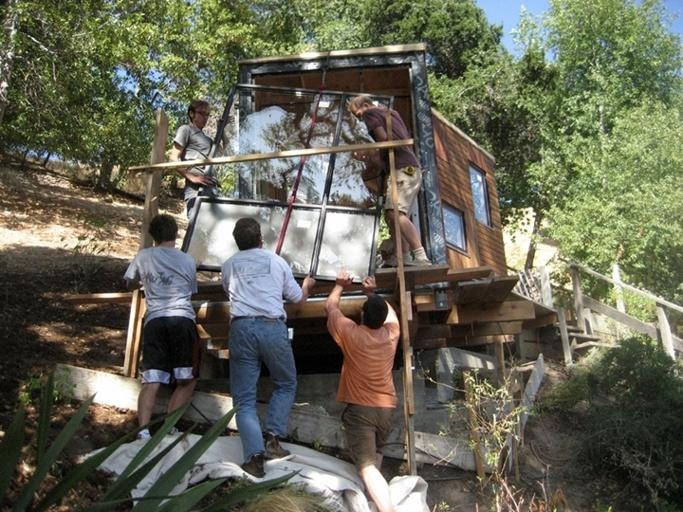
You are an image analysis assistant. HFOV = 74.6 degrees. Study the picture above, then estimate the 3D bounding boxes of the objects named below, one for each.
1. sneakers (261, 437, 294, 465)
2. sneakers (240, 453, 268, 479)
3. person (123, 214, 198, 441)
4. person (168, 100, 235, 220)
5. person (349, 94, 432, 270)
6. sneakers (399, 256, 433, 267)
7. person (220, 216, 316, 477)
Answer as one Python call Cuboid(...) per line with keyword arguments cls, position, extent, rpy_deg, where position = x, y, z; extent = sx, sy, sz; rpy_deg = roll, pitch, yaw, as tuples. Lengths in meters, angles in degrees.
Cuboid(cls="sneakers", position=(-0.534, 1.654, 3.843), extent=(0.255, 0.215, 0.184), rpy_deg=(8, 2, -21))
Cuboid(cls="sneakers", position=(-0.687, 1.655, 3.527), extent=(0.124, 0.203, 0.186), rpy_deg=(15, -18, -31))
Cuboid(cls="person", position=(-1.775, 0.749, 4.525), extent=(0.571, 1.802, 0.725), rpy_deg=(6, 2, -44))
Cuboid(cls="person", position=(-1.881, -1.284, 5.770), extent=(0.668, 1.402, 0.858), rpy_deg=(7, 2, -35))
Cuboid(cls="person", position=(0.601, -0.977, 5.360), extent=(1.145, 2.009, 1.058), rpy_deg=(8, 1, 6))
Cuboid(cls="sneakers", position=(0.861, 0.080, 5.304), extent=(0.344, 0.157, 0.126), rpy_deg=(-1, -2, 10))
Cuboid(cls="person", position=(-0.722, 0.784, 3.967), extent=(0.719, 2.114, 1.146), rpy_deg=(7, 2, -22))
